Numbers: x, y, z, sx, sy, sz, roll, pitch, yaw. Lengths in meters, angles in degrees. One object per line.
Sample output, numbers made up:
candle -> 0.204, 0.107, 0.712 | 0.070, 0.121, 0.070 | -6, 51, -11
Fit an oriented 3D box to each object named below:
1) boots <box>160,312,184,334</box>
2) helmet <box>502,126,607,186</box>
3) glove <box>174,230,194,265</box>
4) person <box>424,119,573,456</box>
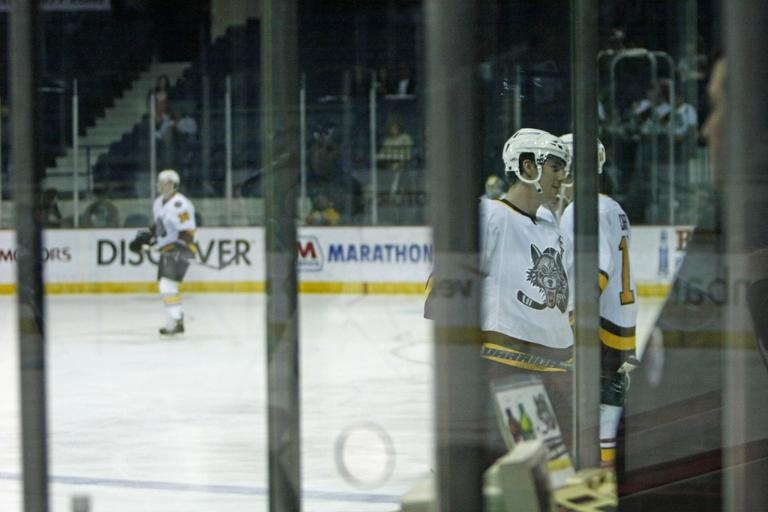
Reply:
boots -> -0.743, 0.243, 5.391 | 0.120, 0.084, 0.044 | 3, 7, -7
helmet -> 0.518, -0.329, 5.238 | 0.248, 0.216, 0.168 | -2, 4, -2
glove -> -0.689, -0.039, 5.328 | 0.052, 0.102, 0.087 | -3, 4, -6
person -> 0.471, 0.116, 5.251 | 0.197, 1.103, 0.503 | 2, 6, 44
